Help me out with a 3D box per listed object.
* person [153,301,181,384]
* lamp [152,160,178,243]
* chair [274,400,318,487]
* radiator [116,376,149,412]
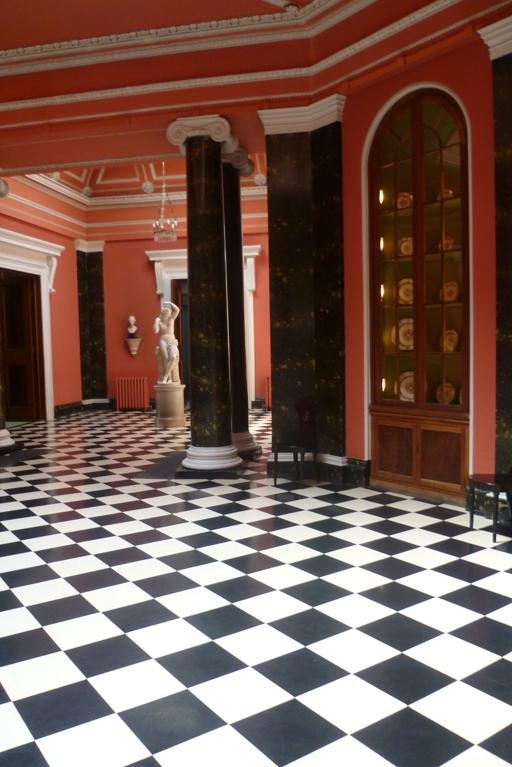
[{"bbox_3d":[-1.760,-0.815,11.444,0.479,1.351,0.927,-1,1,-10],"label":"person"},{"bbox_3d":[-1.923,-3.864,12.513,0.521,1.560,2.161,-1,1,-9],"label":"lamp"},{"bbox_3d":[0.412,0.631,6.203,0.487,0.659,0.556,-1,1,5],"label":"chair"},{"bbox_3d":[-2.869,0.270,13.619,0.812,0.910,0.370,0,1,-1],"label":"radiator"}]
